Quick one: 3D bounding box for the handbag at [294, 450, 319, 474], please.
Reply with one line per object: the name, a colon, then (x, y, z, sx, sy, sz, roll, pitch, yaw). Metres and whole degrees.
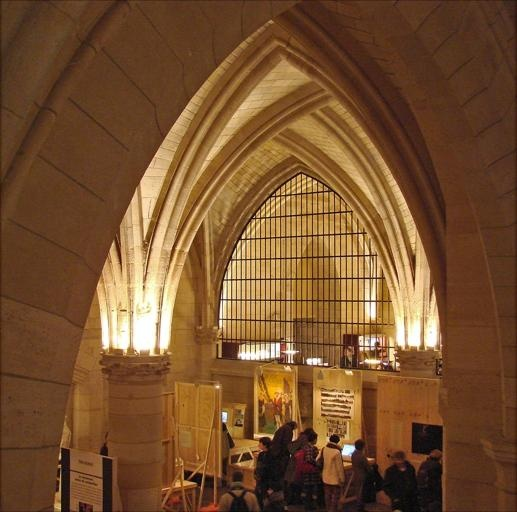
handbag: (1.001, 4.257, 10.660, 0.420, 0.329, 0.540, 24, -2, 19)

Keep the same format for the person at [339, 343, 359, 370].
person: (2.931, 3.319, 16.776, 0.572, 0.798, 1.523, -3, -19, 9)

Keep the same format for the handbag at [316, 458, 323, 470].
handbag: (1.262, 4.336, 10.714, 0.113, 0.186, 0.183, 0, -40, 2)
